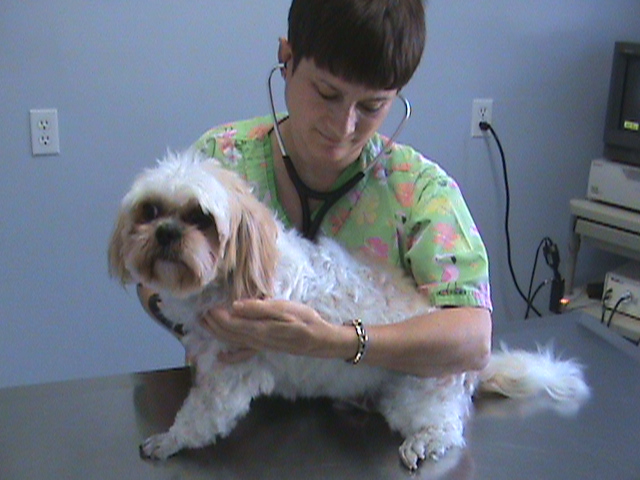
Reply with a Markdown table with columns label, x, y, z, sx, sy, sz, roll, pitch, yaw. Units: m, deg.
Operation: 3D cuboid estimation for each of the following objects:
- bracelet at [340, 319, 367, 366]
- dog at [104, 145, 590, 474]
| label | x | y | z | sx | sy | sz | roll | pitch | yaw |
| --- | --- | --- | --- | --- | --- | --- | --- | --- | --- |
| bracelet | 0.104 | 0.297 | 1.846 | 0.035 | 0.112 | 0.085 | 7 | -10 | -29 |
| dog | 0.059 | 0.241 | 2.230 | 1.480 | 1.056 | 0.790 | 10 | 8 | -1 |
